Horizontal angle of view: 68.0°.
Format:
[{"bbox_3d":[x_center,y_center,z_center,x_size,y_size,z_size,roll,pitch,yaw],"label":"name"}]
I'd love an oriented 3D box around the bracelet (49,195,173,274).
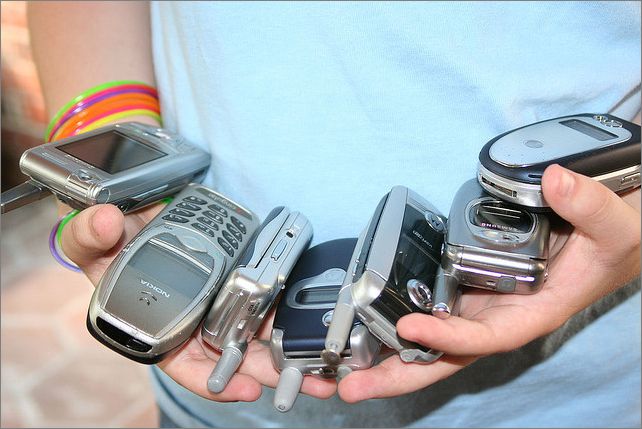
[{"bbox_3d":[-0.522,0.067,1.173,0.261,0.051,0.233,-3,48,-16],"label":"bracelet"}]
